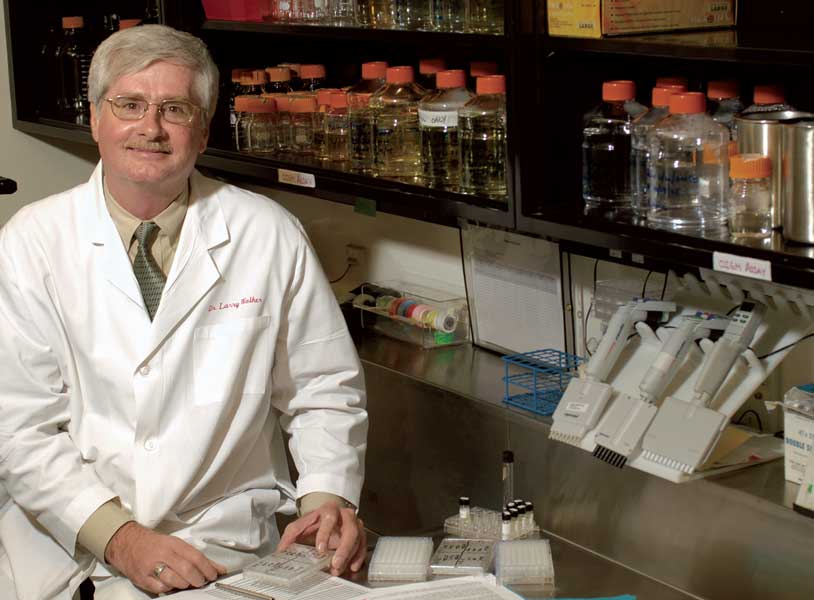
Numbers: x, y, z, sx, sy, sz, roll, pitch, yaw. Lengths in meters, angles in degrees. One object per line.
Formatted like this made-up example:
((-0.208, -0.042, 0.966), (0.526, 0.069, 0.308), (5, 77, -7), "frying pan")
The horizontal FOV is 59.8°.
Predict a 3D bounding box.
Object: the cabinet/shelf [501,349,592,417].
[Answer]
((0.363, 0.222, 1.935), (0.176, 0.119, 0.179), (12, 20, 42), "cabinet/shelf")

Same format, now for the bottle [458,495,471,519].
((0.136, 0.475, 1.658), (0.025, 0.046, 0.081), (0, 16, 6), "bottle")

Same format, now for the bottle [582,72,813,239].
((0.597, -0.323, 1.527), (0.279, 0.292, 0.478), (-12, 19, -33), "bottle")

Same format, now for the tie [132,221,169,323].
((-0.560, -0.066, 1.529), (0.066, 0.247, 0.030), (-1, -25, -12), "tie")
